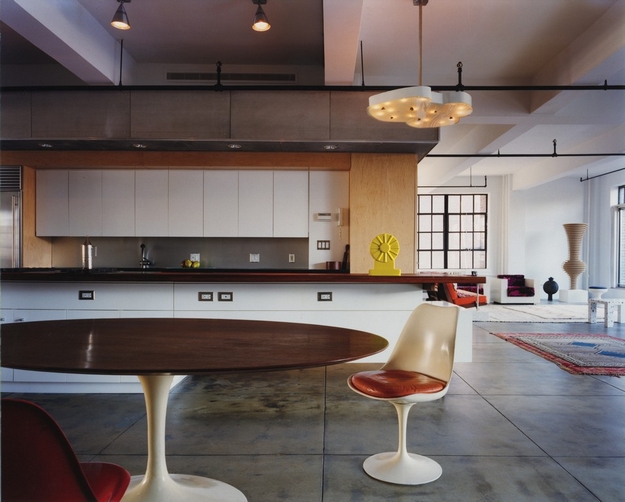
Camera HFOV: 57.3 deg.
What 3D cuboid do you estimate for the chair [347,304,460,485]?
[{"bbox_3d":[0.649,0.979,3.992,0.811,1.117,0.661,-1,2,-32],"label":"chair"}]

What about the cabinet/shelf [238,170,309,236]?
[{"bbox_3d":[-0.565,-0.654,7.506,0.896,0.833,0.288,1,0,1],"label":"cabinet/shelf"}]

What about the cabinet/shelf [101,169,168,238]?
[{"bbox_3d":[-2.360,-0.641,7.461,0.904,0.816,0.409,-1,1,2],"label":"cabinet/shelf"}]

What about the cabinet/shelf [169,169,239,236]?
[{"bbox_3d":[-1.471,-0.658,7.481,0.906,0.807,0.292,1,1,-1],"label":"cabinet/shelf"}]

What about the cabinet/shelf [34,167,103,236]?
[{"bbox_3d":[-3.276,-0.660,7.563,0.849,0.908,0.303,-3,8,-40],"label":"cabinet/shelf"}]
